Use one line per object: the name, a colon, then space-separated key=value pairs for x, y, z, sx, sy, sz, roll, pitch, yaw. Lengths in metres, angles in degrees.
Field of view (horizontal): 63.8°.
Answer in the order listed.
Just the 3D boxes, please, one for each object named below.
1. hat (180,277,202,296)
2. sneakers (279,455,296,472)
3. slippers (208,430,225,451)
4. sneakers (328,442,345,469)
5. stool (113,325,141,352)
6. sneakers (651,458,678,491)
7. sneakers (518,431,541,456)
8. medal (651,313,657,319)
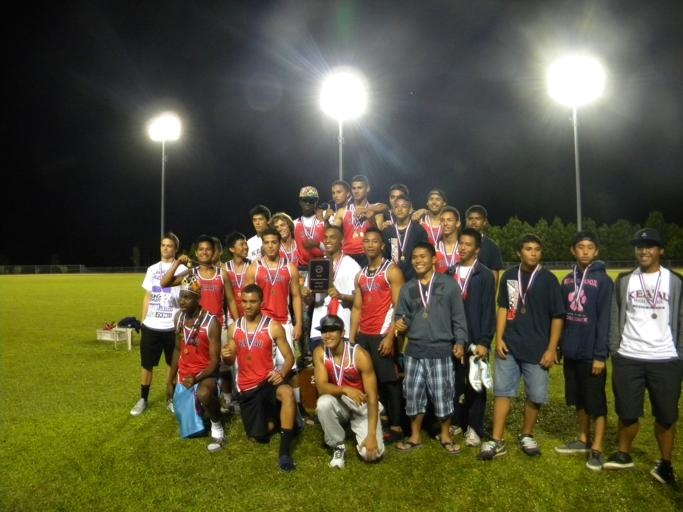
hat: x=-2.512 y=0.499 z=9.086 sx=0.230 sy=0.328 sz=0.314 roll=3 pitch=-11 yaw=-12
sneakers: x=-0.811 y=3.066 z=8.136 sx=0.236 sy=0.143 sz=0.240 roll=-1 pitch=9 yaw=-7
slippers: x=-2.006 y=2.941 z=8.726 sx=0.252 sy=0.203 sz=0.284 roll=-1 pitch=8 yaw=-7
sneakers: x=-0.069 y=2.996 z=8.260 sx=0.241 sy=0.251 sz=0.299 roll=0 pitch=8 yaw=0
stool: x=-6.153 y=2.189 z=15.297 sx=0.692 sy=0.550 sz=0.546 roll=3 pitch=4 yaw=15
sneakers: x=4.562 y=2.988 z=7.641 sx=0.391 sy=0.321 sz=0.290 roll=-3 pitch=8 yaw=-16
sneakers: x=2.902 y=2.907 z=8.507 sx=0.249 sy=0.237 sz=0.350 roll=-6 pitch=10 yaw=-34
medal: x=4.437 y=0.848 z=7.802 sx=0.054 sy=0.088 sz=0.018 roll=1 pitch=-2 yaw=27
